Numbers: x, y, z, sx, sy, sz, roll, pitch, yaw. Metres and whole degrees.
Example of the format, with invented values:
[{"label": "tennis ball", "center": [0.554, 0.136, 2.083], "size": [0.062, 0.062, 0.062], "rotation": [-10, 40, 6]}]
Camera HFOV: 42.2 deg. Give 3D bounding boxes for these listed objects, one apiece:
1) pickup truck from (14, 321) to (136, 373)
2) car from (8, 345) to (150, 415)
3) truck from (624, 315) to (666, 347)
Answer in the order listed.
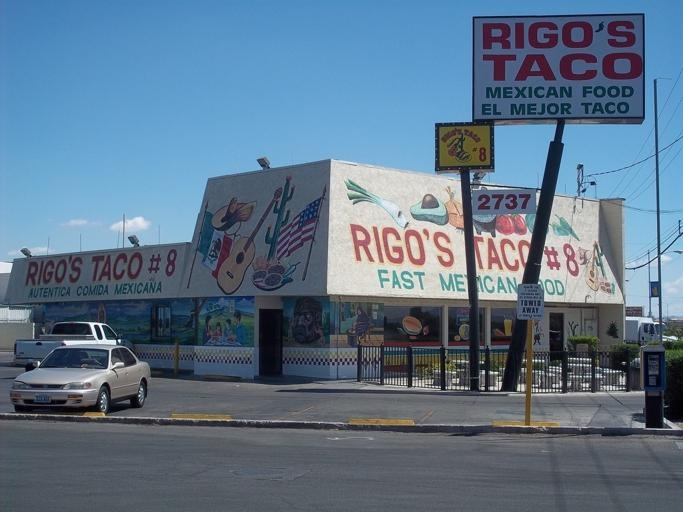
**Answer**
[{"label": "pickup truck", "center": [-9.899, 3.399, 31.904], "size": [3.055, 1.991, 4.019], "rotation": [0, -3, -1]}, {"label": "car", "center": [-7.207, 3.440, 24.960], "size": [1.961, 1.918, 3.773], "rotation": [-4, -9, 35]}, {"label": "truck", "center": [18.759, 4.555, 55.523], "size": [1.864, 1.757, 6.132], "rotation": [-1, -8, 17]}]
